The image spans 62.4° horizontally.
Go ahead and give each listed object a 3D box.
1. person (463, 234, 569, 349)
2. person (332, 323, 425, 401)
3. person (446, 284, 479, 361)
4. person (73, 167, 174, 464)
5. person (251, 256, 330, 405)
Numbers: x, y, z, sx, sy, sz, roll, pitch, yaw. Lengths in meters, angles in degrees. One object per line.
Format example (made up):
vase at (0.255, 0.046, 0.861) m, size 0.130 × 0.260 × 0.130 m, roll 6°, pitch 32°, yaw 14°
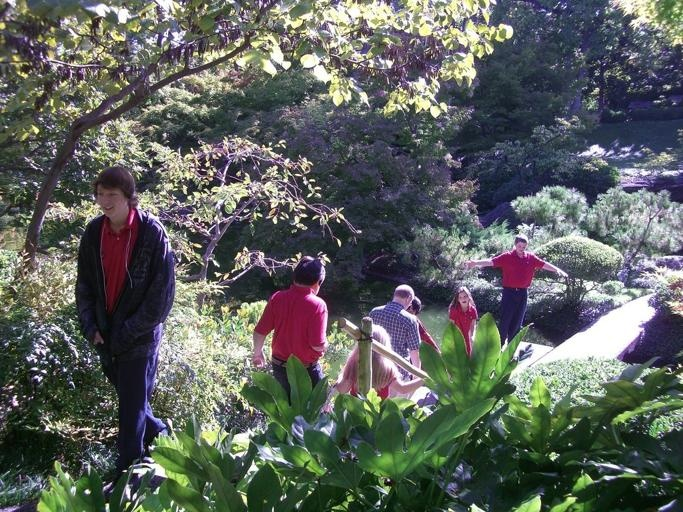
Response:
person at (2.161, 0.380, 7.060) m, size 0.726 × 1.434 × 0.859 m, roll -2°, pitch -13°, yaw 27°
person at (0.256, 0.651, 3.583) m, size 0.543 × 0.472 × 0.979 m, roll 4°, pitch -12°, yaw -1°
person at (1.334, 0.654, 6.209) m, size 0.291 × 0.786 × 0.917 m, roll 1°, pitch -13°, yaw 12°
person at (-1.204, 0.345, 3.067) m, size 0.498 × 1.582 × 0.369 m, roll 10°, pitch -13°, yaw -26°
person at (-0.374, 0.470, 4.041) m, size 0.562 × 0.939 × 0.439 m, roll 1°, pitch -12°, yaw 14°
